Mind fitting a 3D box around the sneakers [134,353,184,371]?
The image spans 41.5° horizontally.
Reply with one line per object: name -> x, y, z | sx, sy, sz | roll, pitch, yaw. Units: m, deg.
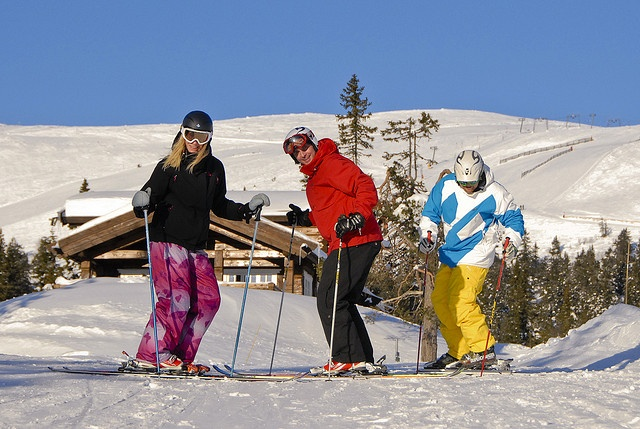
sneakers -> -2.274, 2.072, 11.874 | 0.672, 0.270, 0.247 | -2, 0, -2

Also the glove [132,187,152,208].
glove -> -2.549, -0.237, 11.970 | 0.256, 0.291, 0.200 | -1, 3, -13

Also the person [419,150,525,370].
person -> 2.306, 0.685, 13.167 | 1.531, 3.404, 0.807 | 1, 3, 12

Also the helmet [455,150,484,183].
helmet -> 2.314, -0.833, 13.030 | 0.392, 0.515, 0.538 | -1, 40, 10

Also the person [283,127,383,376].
person -> 0.241, 0.511, 12.482 | 1.387, 3.634, 0.830 | 2, 3, 36

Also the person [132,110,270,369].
person -> -1.959, 0.378, 12.109 | 1.430, 3.698, 0.643 | 0, 3, -8

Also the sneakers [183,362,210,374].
sneakers -> -1.787, 2.202, 12.052 | 0.316, 0.154, 0.114 | 17, -45, -24

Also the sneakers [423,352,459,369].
sneakers -> 1.862, 2.272, 13.156 | 0.609, 0.261, 0.206 | 2, -7, 2

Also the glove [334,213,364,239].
glove -> 0.418, 0.154, 12.233 | 0.399, 0.321, 0.169 | -21, -11, -7

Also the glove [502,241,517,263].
glove -> 2.952, 0.556, 13.046 | 0.225, 0.320, 0.125 | -2, -2, 8

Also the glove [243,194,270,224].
glove -> -0.913, -0.104, 12.589 | 0.301, 0.473, 0.175 | 43, 14, 30

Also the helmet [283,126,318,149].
helmet -> -0.290, -1.163, 12.655 | 0.401, 0.313, 0.317 | 10, -45, -46

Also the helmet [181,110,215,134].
helmet -> -1.791, -1.336, 12.136 | 0.435, 0.298, 0.328 | -1, 3, -10
